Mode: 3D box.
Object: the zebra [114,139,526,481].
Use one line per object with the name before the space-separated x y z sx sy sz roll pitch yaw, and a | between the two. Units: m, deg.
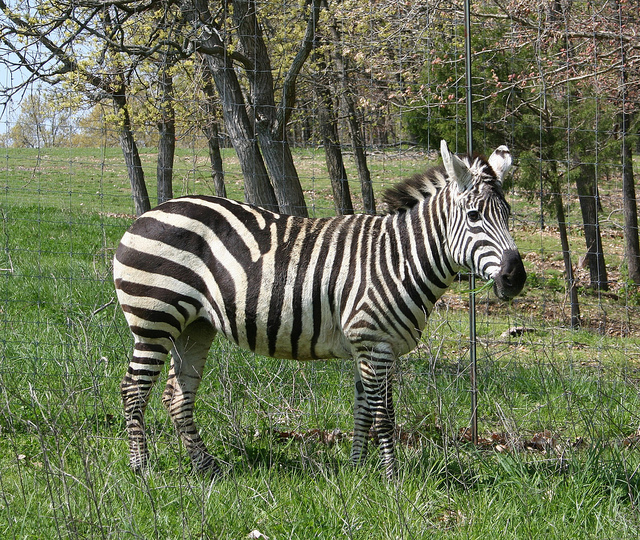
zebra | 0.006 0.469 9.281 2.967 3.035 1.024 0 -11 1
